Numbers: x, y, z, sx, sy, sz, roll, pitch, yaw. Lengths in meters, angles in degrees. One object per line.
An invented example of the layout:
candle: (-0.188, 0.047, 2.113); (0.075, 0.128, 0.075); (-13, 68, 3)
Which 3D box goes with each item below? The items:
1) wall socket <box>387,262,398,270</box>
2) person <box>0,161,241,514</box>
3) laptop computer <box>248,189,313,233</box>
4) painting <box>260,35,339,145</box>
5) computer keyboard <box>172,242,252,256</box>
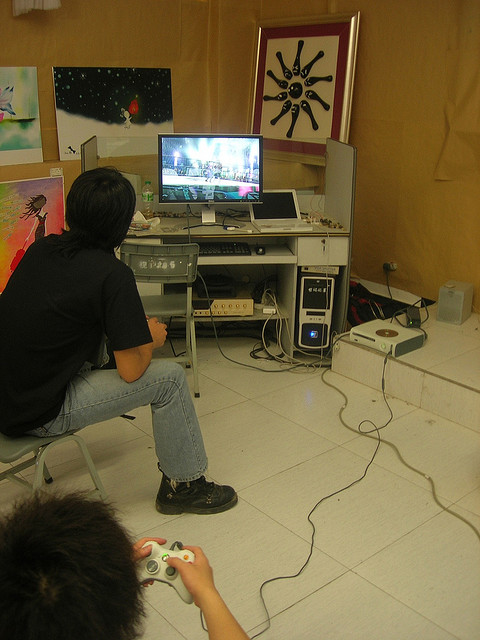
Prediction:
wall socket: (1.367, -0.488, 4.089); (0.075, 0.060, 0.033); (8, 21, 14)
person: (-0.469, 0.175, 1.741); (0.781, 1.411, 0.266); (-2, 20, -12)
laptop computer: (0.284, -0.814, 3.359); (0.398, 0.253, 0.514); (0, 21, -7)
painting: (0.513, -2.062, 4.093); (0.806, 1.160, 0.055); (3, -5, 9)
computer keyboard: (-0.109, -0.516, 3.310); (0.370, 0.051, 0.264); (0, 22, -6)
